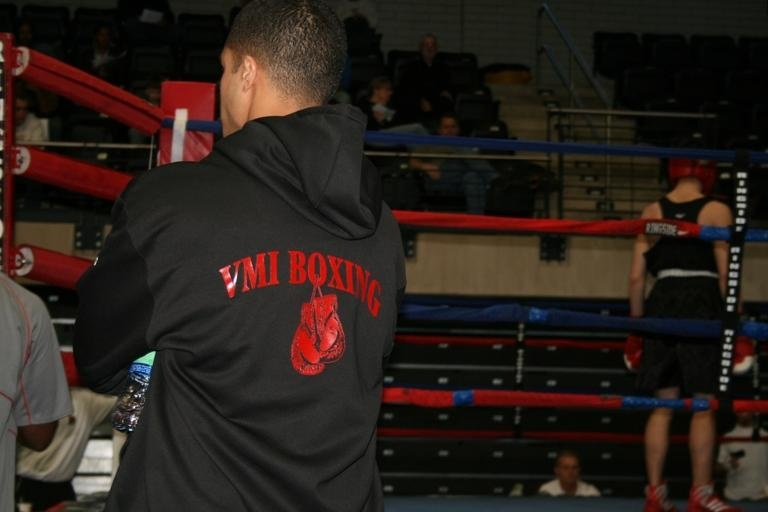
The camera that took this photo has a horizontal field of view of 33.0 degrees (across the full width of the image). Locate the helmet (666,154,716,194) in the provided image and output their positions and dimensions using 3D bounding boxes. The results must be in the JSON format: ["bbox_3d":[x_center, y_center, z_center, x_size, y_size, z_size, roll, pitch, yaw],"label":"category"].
[{"bbox_3d":[2.557,-0.678,10.737,0.381,0.299,0.271,1,2,5],"label":"helmet"}]

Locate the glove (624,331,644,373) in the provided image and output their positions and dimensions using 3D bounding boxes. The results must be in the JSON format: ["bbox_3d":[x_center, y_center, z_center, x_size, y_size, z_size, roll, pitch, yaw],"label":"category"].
[{"bbox_3d":[2.018,0.796,10.620,0.173,0.293,0.084,23,-48,-5],"label":"glove"}]

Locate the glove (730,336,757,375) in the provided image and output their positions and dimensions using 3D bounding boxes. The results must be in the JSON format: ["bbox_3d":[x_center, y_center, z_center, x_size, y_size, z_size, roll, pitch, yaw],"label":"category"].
[{"bbox_3d":[2.877,0.798,10.369,0.227,0.272,0.098,1,-14,11],"label":"glove"}]

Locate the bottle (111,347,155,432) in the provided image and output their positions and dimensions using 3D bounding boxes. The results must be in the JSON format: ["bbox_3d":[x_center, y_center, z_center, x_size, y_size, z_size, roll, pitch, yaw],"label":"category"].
[{"bbox_3d":[-1.712,0.921,8.811,0.257,0.516,0.046,4,1,15],"label":"bottle"}]
